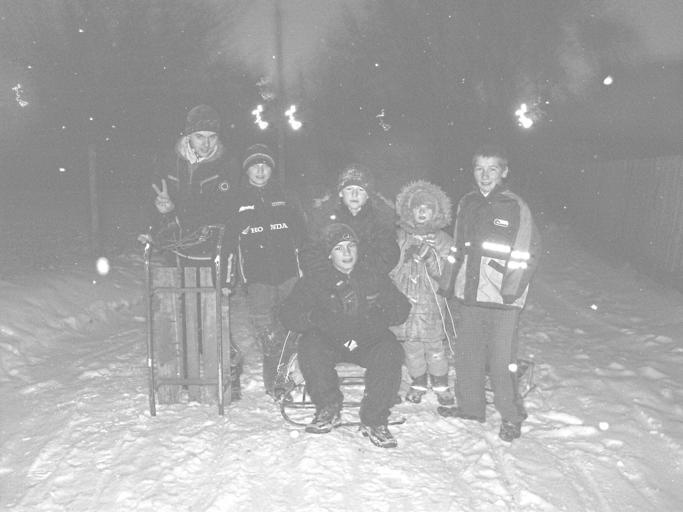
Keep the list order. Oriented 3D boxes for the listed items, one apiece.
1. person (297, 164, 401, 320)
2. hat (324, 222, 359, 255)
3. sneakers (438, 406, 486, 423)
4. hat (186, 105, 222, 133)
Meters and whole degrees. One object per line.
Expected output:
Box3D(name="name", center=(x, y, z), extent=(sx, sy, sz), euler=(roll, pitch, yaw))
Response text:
Box3D(name="person", center=(0.181, -0.204, 7.406), extent=(1.068, 1.425, 0.512), euler=(5, -21, -10))
Box3D(name="hat", center=(-0.007, -0.202, 7.104), extent=(0.383, 0.295, 0.283), euler=(7, 7, 12))
Box3D(name="sneakers", center=(1.509, 1.900, 7.434), extent=(0.604, 0.247, 0.186), euler=(-5, -1, 26))
Box3D(name="hat", center=(-1.739, -1.674, 7.626), extent=(0.395, 0.337, 0.419), euler=(1, 35, -1))
